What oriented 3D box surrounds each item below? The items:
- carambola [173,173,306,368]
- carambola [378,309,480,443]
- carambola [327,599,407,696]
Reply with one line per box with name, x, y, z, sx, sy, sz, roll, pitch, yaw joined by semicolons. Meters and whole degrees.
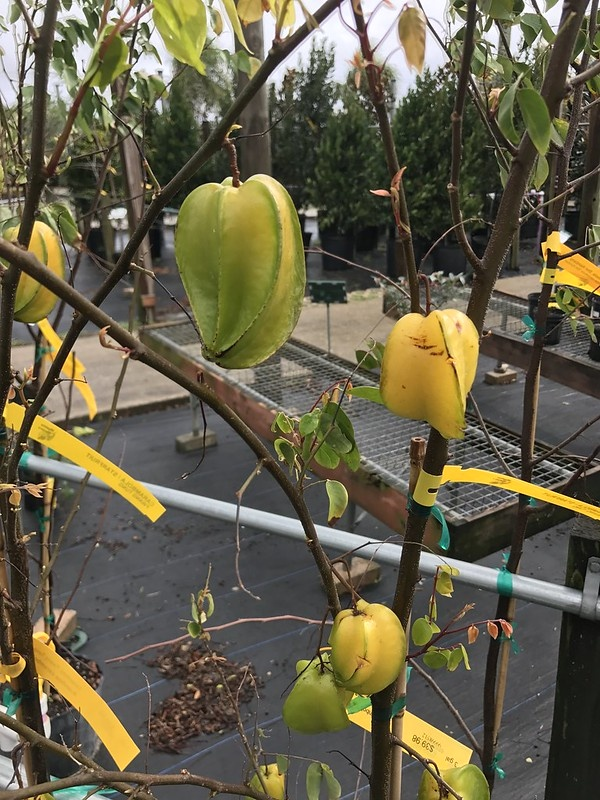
carambola;-0.051;-0.097;0.613;0.090;0.145;0.047;6;7;18
carambola;0.104;-0.022;0.608;0.043;0.093;0.092;1;7;-27
carambola;0.057;0.222;0.709;0.079;0.082;0.056;-2;-2;-2
